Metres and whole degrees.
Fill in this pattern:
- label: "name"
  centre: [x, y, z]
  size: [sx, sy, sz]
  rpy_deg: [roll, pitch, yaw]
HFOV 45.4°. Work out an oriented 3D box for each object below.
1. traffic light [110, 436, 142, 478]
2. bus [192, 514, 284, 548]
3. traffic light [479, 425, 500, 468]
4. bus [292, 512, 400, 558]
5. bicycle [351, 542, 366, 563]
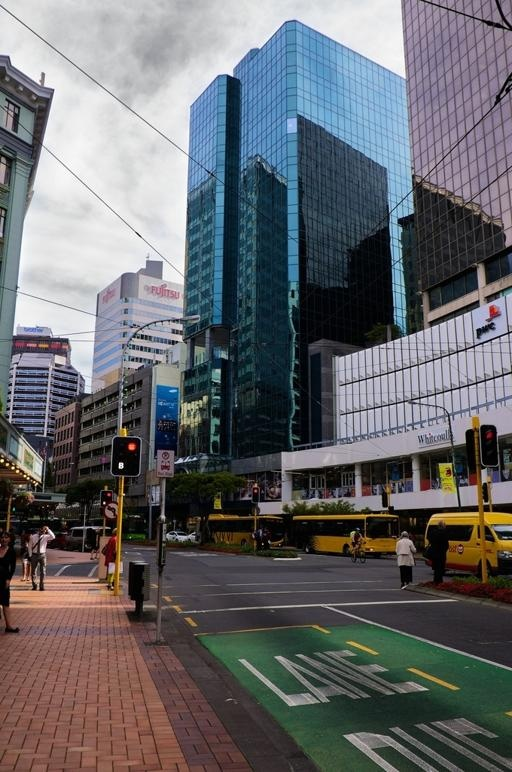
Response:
- label: "traffic light"
  centre: [-2.927, 1.546, 13.718]
  size: [0.624, 0.884, 0.881]
  rpy_deg: [1, -11, -14]
- label: "bus"
  centre: [-1.053, 12.784, 51.666]
  size: [3.381, 3.471, 11.464]
  rpy_deg: [9, -12, -31]
- label: "traffic light"
  centre: [6.156, 1.550, 16.164]
  size: [0.436, 1.095, 0.603]
  rpy_deg: [-5, -11, 16]
- label: "bus"
  centre: [5.683, 10.794, 44.665]
  size: [3.654, 2.863, 10.741]
  rpy_deg: [6, -13, -32]
- label: "bicycle"
  centre: [5.921, 9.321, 34.595]
  size: [0.848, 1.072, 1.718]
  rpy_deg: [1, -16, -7]
